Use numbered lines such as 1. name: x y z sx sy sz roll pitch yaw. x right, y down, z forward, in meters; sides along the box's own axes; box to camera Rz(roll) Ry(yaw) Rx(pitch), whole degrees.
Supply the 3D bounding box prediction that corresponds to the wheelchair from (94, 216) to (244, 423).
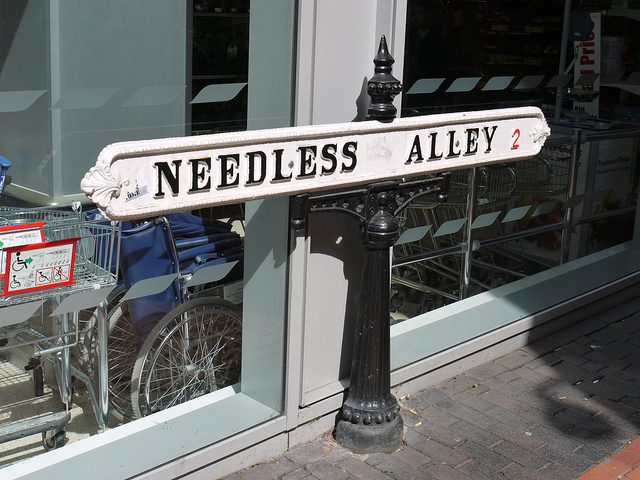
1. wheelchair: -0.982 0.443 3.994 0.755 1.327 0.707 -9 15 -41
